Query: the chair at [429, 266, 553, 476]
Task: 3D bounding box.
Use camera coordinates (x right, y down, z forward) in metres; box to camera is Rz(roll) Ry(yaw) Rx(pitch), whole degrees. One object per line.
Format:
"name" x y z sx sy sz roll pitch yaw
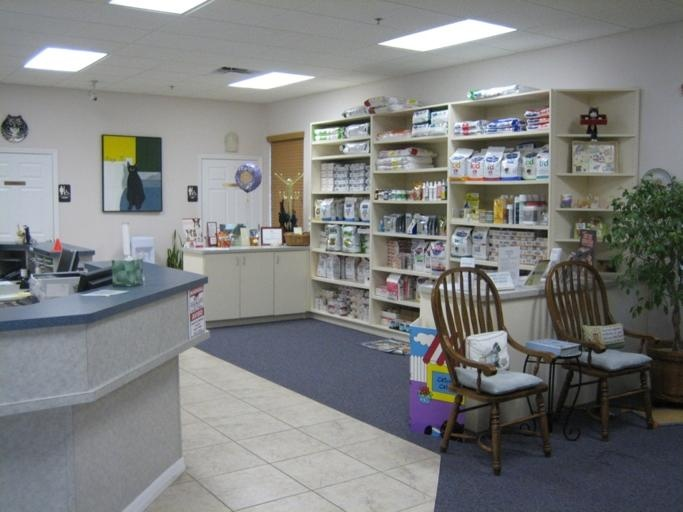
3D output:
"chair" 1.150 0.763 3.834 0.902 1.364 1.059 2 6 21

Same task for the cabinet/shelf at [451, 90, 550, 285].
"cabinet/shelf" 1.854 -0.824 5.758 1.299 1.977 0.775 5 7 44

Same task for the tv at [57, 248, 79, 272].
"tv" -2.203 0.038 4.006 0.166 0.208 0.048 9 -10 31

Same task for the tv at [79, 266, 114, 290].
"tv" -1.626 0.149 3.312 0.094 0.097 0.138 -3 4 21

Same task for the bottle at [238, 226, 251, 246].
"bottle" -1.554 -0.311 7.921 0.283 0.410 0.040 2 5 11

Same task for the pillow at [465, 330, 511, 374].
"pillow" 1.045 0.694 3.590 0.289 0.255 0.111 -1 6 -25

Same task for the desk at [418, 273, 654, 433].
"desk" 1.094 0.782 3.667 0.755 1.349 0.708 -1 0 -18

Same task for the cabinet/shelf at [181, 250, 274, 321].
"cabinet/shelf" -1.724 0.415 8.031 1.713 1.480 0.974 -1 2 -35
